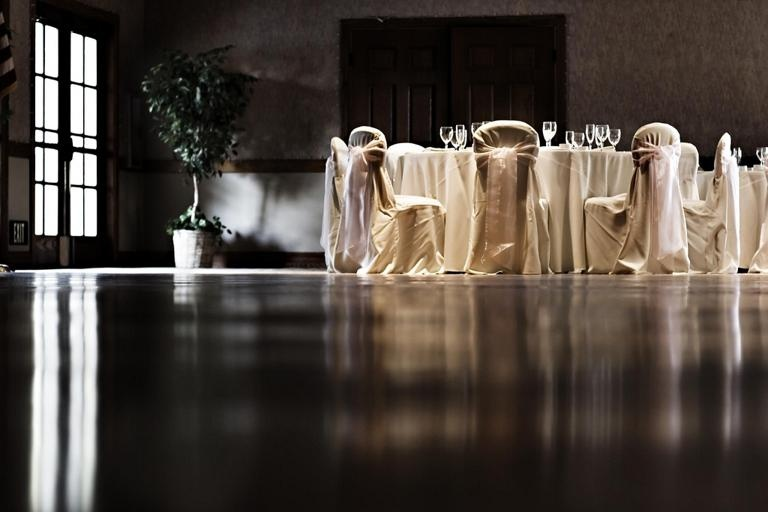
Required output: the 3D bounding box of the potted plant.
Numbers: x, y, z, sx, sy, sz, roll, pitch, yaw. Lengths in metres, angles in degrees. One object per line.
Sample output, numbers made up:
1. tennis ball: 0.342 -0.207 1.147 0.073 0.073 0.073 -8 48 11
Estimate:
1. potted plant: -1.777 -0.999 6.715 0.990 2.196 0.983 1 2 -20
